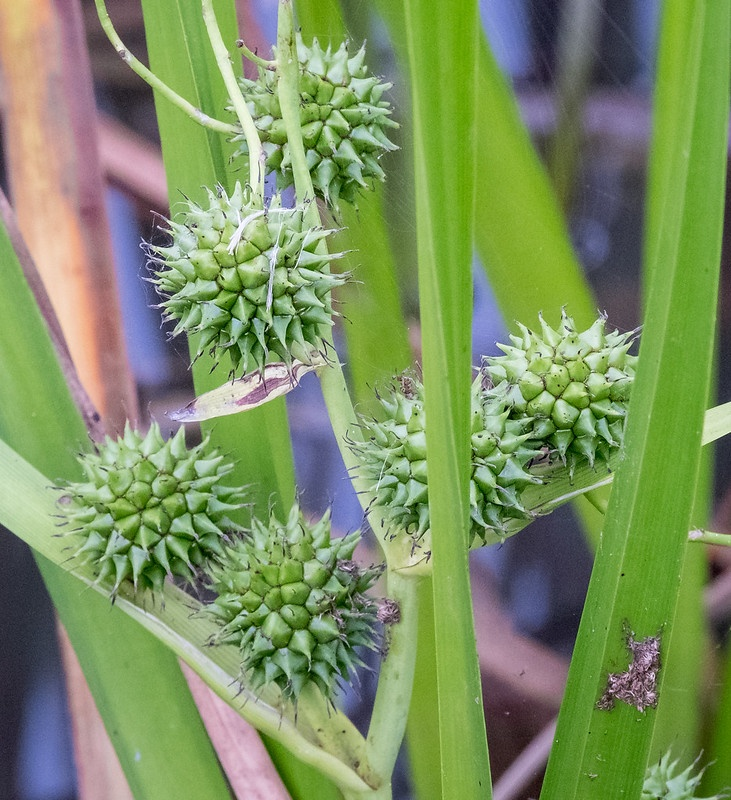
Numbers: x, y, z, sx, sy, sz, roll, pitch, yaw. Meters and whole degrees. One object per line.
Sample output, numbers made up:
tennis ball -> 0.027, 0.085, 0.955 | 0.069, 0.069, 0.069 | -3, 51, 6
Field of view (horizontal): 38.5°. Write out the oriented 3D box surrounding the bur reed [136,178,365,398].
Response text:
bur reed -> -0.114, -0.113, 1.055 | 0.173, 0.193, 0.161 | -21, 34, -14

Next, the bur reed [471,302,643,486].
bur reed -> 0.216, -0.026, 1.115 | 0.093, 0.133, 0.104 | 10, 31, 7

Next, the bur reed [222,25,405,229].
bur reed -> -0.044, -0.298, 1.188 | 0.156, 0.169, 0.139 | -2, -12, -44

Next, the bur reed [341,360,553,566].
bur reed -> 0.086, 0.044, 1.098 | 0.174, 0.208, 0.186 | 9, 11, 18

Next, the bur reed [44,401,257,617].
bur reed -> -0.222, 0.118, 1.166 | 0.177, 0.137, 0.192 | -25, 76, -3

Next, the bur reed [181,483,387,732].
bur reed -> -0.063, 0.190, 1.105 | 0.166, 0.191, 0.185 | 8, 25, 18
